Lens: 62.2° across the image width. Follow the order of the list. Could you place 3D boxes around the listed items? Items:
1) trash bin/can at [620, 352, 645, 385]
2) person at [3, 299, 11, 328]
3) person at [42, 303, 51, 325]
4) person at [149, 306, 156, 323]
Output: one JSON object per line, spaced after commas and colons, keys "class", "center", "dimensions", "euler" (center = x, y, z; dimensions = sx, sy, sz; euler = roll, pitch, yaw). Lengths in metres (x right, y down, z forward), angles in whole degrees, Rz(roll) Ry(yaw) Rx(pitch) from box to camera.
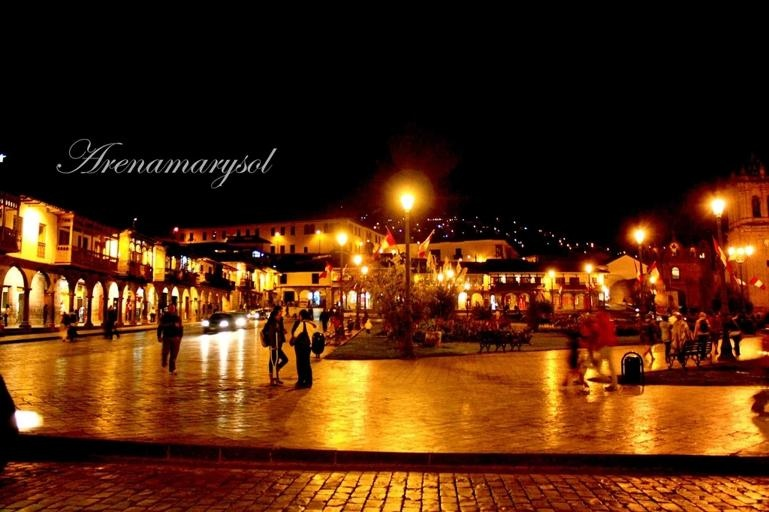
{"class": "trash bin/can", "center": [6.415, 2.929, 16.613], "dimensions": [0.571, 0.801, 0.529], "euler": [-3, -9, 19]}
{"class": "person", "center": [-22.515, 3.526, 38.080], "dimensions": [0.538, 1.501, 2.099], "euler": [5, -10, -28]}
{"class": "person", "center": [-21.507, 3.664, 40.600], "dimensions": [0.321, 1.206, 0.583], "euler": [7, -11, -36]}
{"class": "person", "center": [-20.046, 5.080, 55.280], "dimensions": [0.731, 1.370, 1.346], "euler": [3, -9, -19]}
